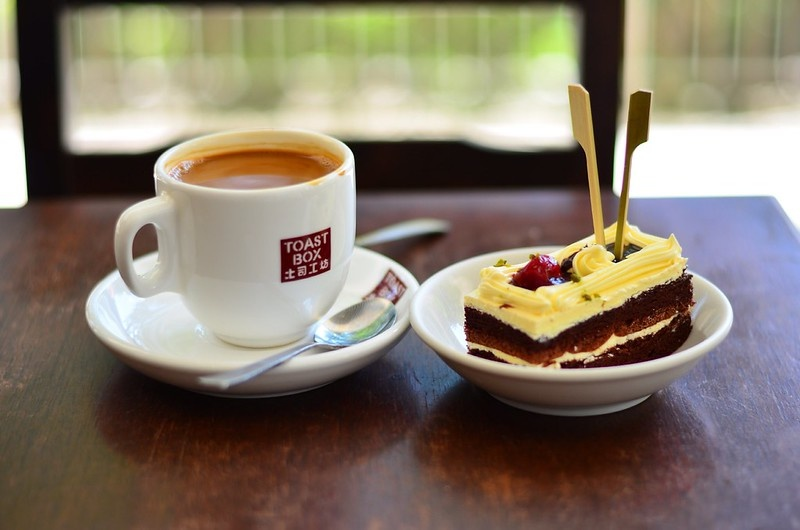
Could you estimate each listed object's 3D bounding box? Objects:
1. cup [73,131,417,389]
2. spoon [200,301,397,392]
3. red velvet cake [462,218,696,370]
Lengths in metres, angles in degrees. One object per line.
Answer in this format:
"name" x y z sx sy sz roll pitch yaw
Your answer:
"cup" -0.258 -0.023 0.952 0.384 0.261 0.249 -17 34 -38
"spoon" -0.098 0.091 0.908 0.083 0.033 0.397 5 17 29
"red velvet cake" 0.245 0.052 0.898 0.284 0.148 0.169 -10 16 -27
